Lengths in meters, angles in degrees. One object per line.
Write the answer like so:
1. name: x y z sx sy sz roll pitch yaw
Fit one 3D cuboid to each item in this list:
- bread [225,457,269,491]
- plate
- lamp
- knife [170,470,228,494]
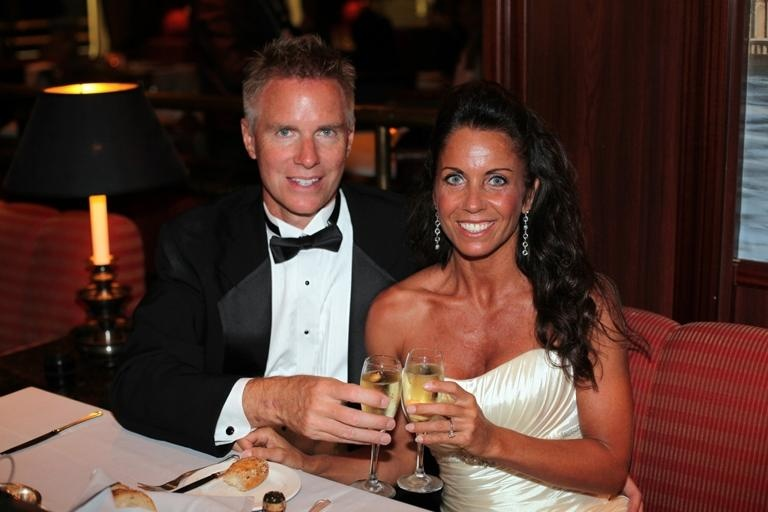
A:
1. bread: -0.446 0.713 2.384 0.112 0.039 0.087 -14 27 -37
2. plate: -0.449 0.742 2.415 0.292 0.123 0.234 -8 18 -39
3. lamp: -1.277 -0.260 3.449 0.745 1.319 0.694 -14 24 -31
4. knife: -0.596 0.749 2.391 0.194 0.024 0.012 -15 -15 -34
